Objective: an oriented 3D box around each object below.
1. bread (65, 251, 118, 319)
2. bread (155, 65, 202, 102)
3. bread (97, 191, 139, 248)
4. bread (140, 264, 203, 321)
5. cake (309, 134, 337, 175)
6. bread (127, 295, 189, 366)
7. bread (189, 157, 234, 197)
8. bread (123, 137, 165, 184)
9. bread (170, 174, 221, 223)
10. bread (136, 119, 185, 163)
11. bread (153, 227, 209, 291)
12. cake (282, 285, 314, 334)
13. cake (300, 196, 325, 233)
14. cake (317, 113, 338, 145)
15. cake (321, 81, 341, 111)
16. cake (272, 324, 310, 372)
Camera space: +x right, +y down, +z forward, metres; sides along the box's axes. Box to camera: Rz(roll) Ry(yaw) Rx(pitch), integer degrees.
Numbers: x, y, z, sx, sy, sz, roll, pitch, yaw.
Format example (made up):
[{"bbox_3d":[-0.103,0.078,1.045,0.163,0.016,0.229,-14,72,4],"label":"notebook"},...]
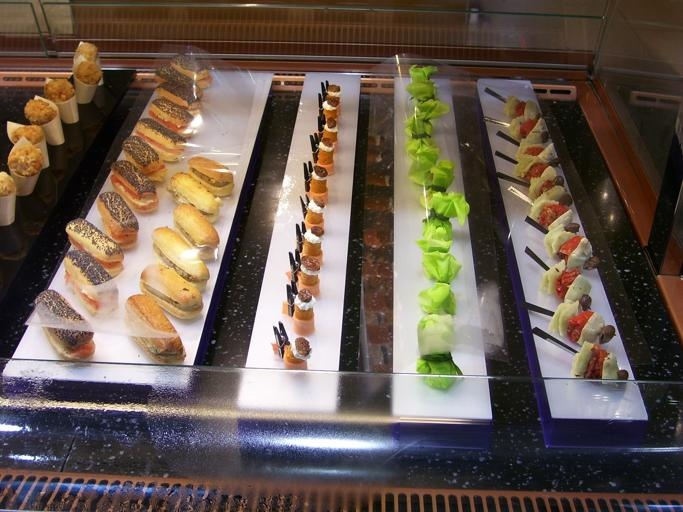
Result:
[{"bbox_3d":[-0.668,0.081,1.297,0.059,0.079,0.153,-24,59,-40],"label":"bread"},{"bbox_3d":[-0.623,-0.635,1.846,0.197,0.065,0.113,34,62,14],"label":"bread"},{"bbox_3d":[-0.681,-0.120,1.517,0.098,0.076,0.194,-12,60,-49],"label":"bread"},{"bbox_3d":[-0.464,0.097,1.369,0.188,0.083,0.103,35,49,10],"label":"bread"},{"bbox_3d":[-0.053,-0.351,1.748,0.075,0.115,0.082,-18,32,-30],"label":"cake"},{"bbox_3d":[-0.498,0.180,1.298,0.100,0.085,0.205,-19,61,-39],"label":"bread"},{"bbox_3d":[-0.442,-0.251,1.640,0.153,0.054,0.105,38,47,14],"label":"bread"},{"bbox_3d":[-0.675,-0.326,1.689,0.091,0.062,0.190,-29,67,-24],"label":"bread"},{"bbox_3d":[-0.479,-0.190,1.610,0.190,0.074,0.104,41,41,12],"label":"bread"},{"bbox_3d":[-0.623,-0.389,1.689,0.170,0.067,0.063,37,49,20],"label":"bread"},{"bbox_3d":[-0.470,0.002,1.464,0.105,0.083,0.228,-27,66,-37],"label":"bread"},{"bbox_3d":[-0.109,0.144,1.328,0.078,0.115,0.121,-5,34,-17],"label":"cake"},{"bbox_3d":[-0.091,-0.145,1.567,0.106,0.060,0.103,-6,60,12],"label":"cake"},{"bbox_3d":[-0.054,-0.468,1.814,0.076,0.088,0.124,-7,42,-14],"label":"cake"},{"bbox_3d":[-0.042,-0.621,1.915,0.081,0.105,0.038,10,15,24],"label":"cake"},{"bbox_3d":[-0.130,0.233,1.230,0.063,0.068,0.135,-8,17,-41],"label":"cake"}]
